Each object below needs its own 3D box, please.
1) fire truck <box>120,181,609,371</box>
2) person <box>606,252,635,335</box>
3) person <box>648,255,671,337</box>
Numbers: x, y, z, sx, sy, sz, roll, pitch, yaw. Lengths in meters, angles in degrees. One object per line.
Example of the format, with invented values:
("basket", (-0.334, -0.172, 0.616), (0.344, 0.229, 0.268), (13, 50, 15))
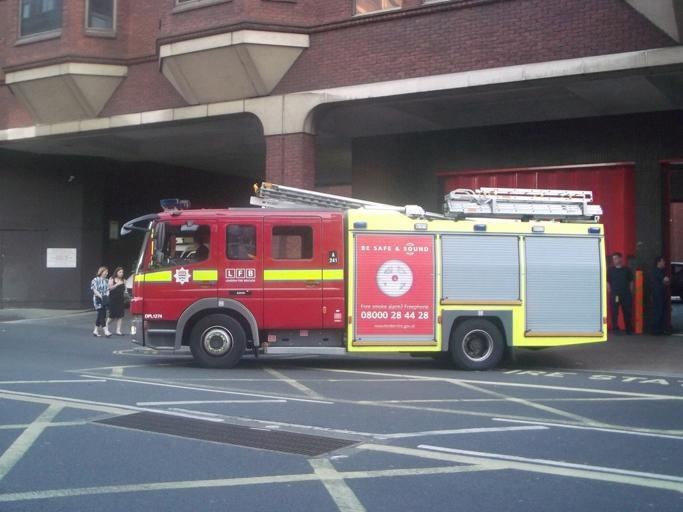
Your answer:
("fire truck", (0.468, 0.426, 16.527), (9.127, 3.896, 3.176), (1, -3, -8))
("person", (7.053, 0.932, 20.312), (0.582, 2.000, 0.461), (0, -3, 20))
("person", (8.068, 0.987, 20.414), (0.456, 1.922, 0.913), (0, -3, 23))
